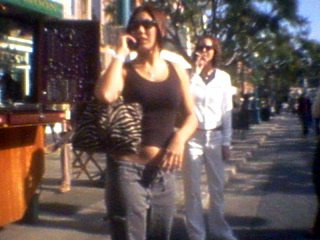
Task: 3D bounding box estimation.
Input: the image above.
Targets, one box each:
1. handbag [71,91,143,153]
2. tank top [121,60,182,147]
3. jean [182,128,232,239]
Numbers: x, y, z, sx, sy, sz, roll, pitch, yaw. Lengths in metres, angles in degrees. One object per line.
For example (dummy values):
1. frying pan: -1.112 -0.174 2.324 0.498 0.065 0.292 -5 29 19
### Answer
1. handbag: -0.294 0.050 1.978 0.361 0.360 0.137 6 0 -3
2. tank top: -0.031 -0.111 2.186 0.415 0.628 0.369 5 -10 -27
3. jean: 0.505 0.714 3.645 0.553 1.271 0.196 -4 8 -30
